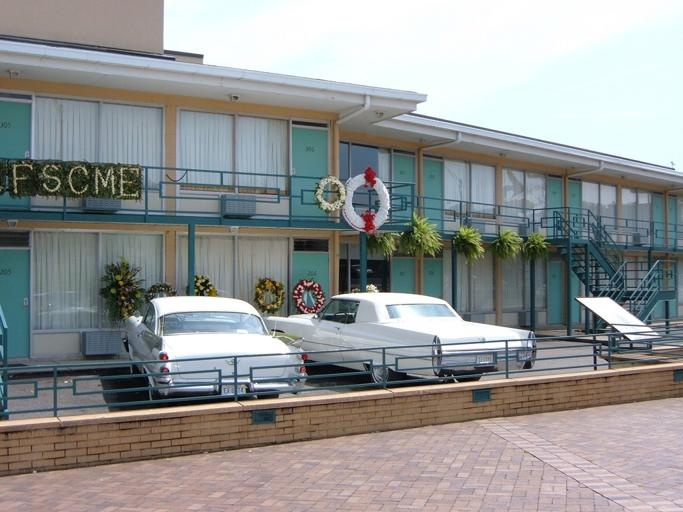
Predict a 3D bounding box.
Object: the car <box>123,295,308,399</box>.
[{"bbox_3d":[-2.256,1.617,14.411,1.646,0.917,2.767,2,4,-22],"label":"car"}]
